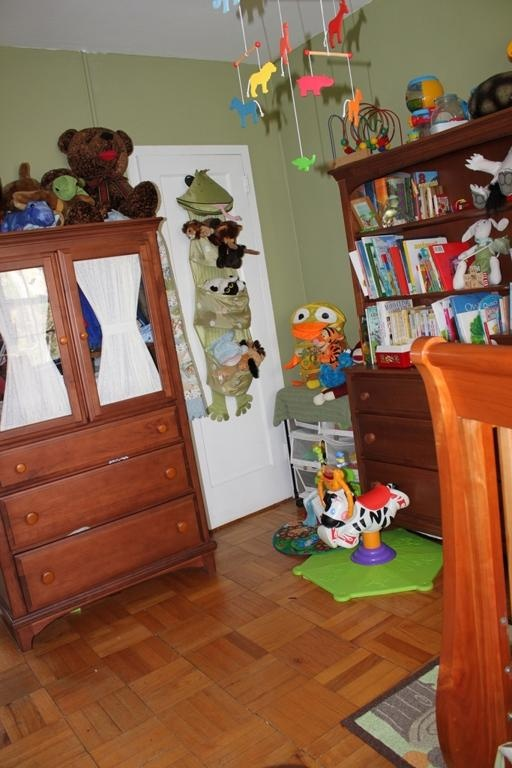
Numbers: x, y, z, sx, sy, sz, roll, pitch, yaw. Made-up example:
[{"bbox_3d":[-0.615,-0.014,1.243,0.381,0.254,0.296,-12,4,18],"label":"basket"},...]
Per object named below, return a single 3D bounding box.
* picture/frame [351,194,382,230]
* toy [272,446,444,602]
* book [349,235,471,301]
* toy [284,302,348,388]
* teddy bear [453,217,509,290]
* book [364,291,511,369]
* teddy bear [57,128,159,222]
[{"bbox_3d":[0.525,-0.787,2.631,0.041,0.171,0.129,-29,20,-35],"label":"picture/frame"},{"bbox_3d":[0.478,0.690,2.482,0.552,0.402,0.647,-17,22,-34],"label":"toy"},{"bbox_3d":[0.644,-0.515,2.499,0.368,0.119,0.362,-12,18,-16],"label":"book"},{"bbox_3d":[0.353,-0.209,3.209,0.456,0.494,0.310,-3,0,27],"label":"toy"},{"bbox_3d":[0.937,-0.538,2.336,0.233,0.282,0.314,-7,7,32],"label":"teddy bear"},{"bbox_3d":[0.810,-0.224,2.469,0.711,0.332,0.329,-4,-8,39],"label":"book"},{"bbox_3d":[-0.667,-0.941,2.558,0.404,0.448,0.355,-11,13,-12],"label":"teddy bear"}]
